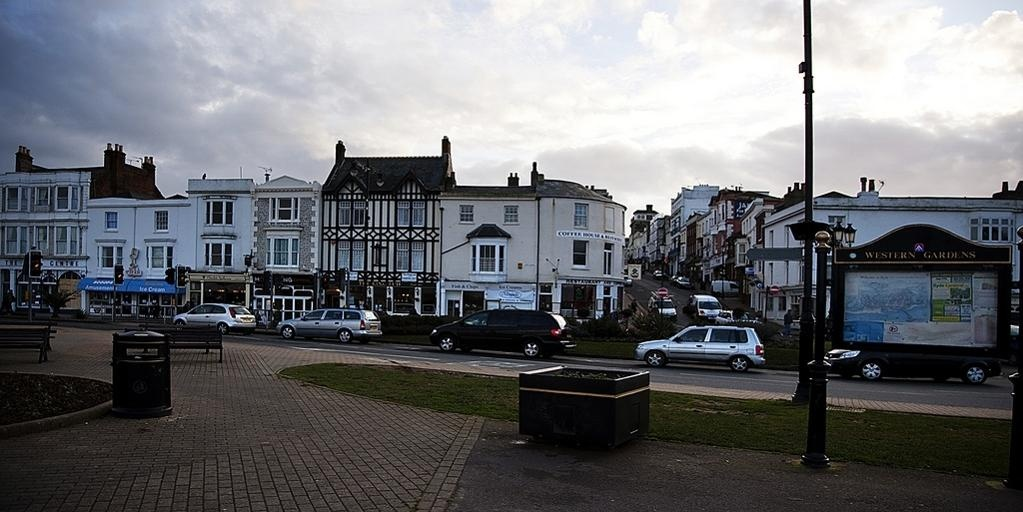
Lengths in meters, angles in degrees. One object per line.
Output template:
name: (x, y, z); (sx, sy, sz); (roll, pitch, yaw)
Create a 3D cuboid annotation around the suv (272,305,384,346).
suv: (-11.430, 4.400, 55.084); (6.050, 1.569, 2.483); (3, -2, 12)

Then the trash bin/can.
trash bin/can: (-14.502, 4.405, 33.199); (2.142, 3.229, 2.053); (1, -1, -40)

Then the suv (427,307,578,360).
suv: (-0.308, 4.415, 48.826); (8.412, 2.519, 2.933); (0, -1, 22)

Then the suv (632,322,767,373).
suv: (10.225, 4.937, 47.116); (6.404, 1.828, 2.664); (2, -2, 10)

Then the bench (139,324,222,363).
bench: (-15.005, 4.022, 39.163); (4.615, 2.100, 2.001); (1, -1, 3)
